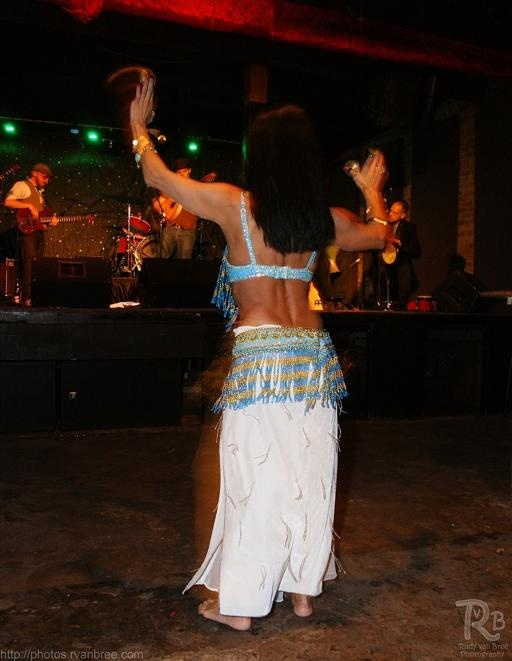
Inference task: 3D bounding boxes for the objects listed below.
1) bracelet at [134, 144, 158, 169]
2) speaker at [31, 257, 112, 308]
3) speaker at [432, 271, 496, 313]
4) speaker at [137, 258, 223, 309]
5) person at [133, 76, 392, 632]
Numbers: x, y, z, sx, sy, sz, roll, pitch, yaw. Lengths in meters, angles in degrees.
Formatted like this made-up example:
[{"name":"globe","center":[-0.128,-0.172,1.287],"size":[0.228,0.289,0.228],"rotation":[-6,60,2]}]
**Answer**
[{"name":"bracelet","center":[-0.322,-0.511,1.750],"size":[0.083,0.037,0.092],"rotation":[-17,-2,-11]},{"name":"speaker","center":[-1.573,-0.407,5.147],"size":[0.644,0.414,0.170],"rotation":[1,2,-18]},{"name":"speaker","center":[2.072,-0.376,6.078],"size":[0.619,0.420,0.561],"rotation":[6,3,-31]},{"name":"speaker","center":[-0.681,-0.423,5.326],"size":[0.912,0.517,0.463],"rotation":[2,1,-11]},{"name":"person","center":[0.056,0.018,1.743],"size":[0.785,1.462,0.363],"rotation":[1,2,-24]}]
